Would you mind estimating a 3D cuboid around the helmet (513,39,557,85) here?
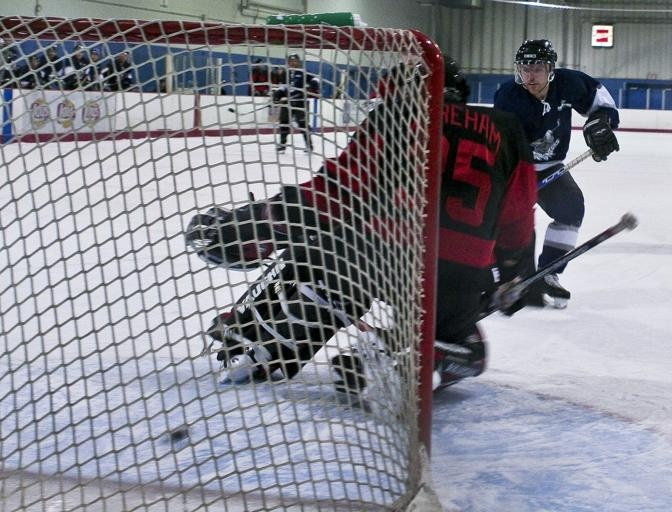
[{"bbox_3d":[0.810,-0.799,3.659,0.175,0.150,0.190,6,23,18],"label":"helmet"}]
